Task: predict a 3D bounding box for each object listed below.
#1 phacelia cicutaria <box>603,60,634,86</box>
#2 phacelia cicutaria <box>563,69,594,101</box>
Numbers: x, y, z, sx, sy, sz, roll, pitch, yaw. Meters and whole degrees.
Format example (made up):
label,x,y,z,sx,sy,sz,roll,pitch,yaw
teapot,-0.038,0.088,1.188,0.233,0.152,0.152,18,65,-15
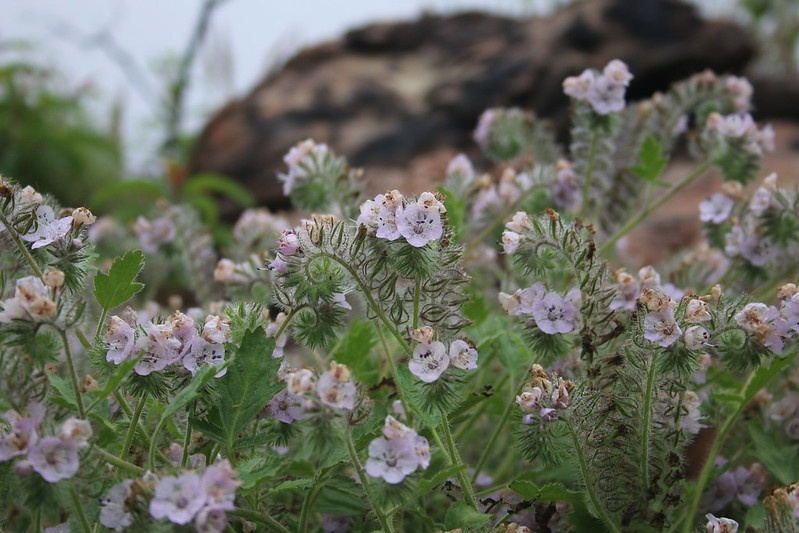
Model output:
label,x,y,z,sx,sy,sz,roll,pitch,yaw
phacelia cicutaria,0.968,-0.848,5.294,0.121,0.123,0.173,-5,9,13
phacelia cicutaria,0.809,-0.800,5.324,0.140,0.134,0.130,-6,8,10
